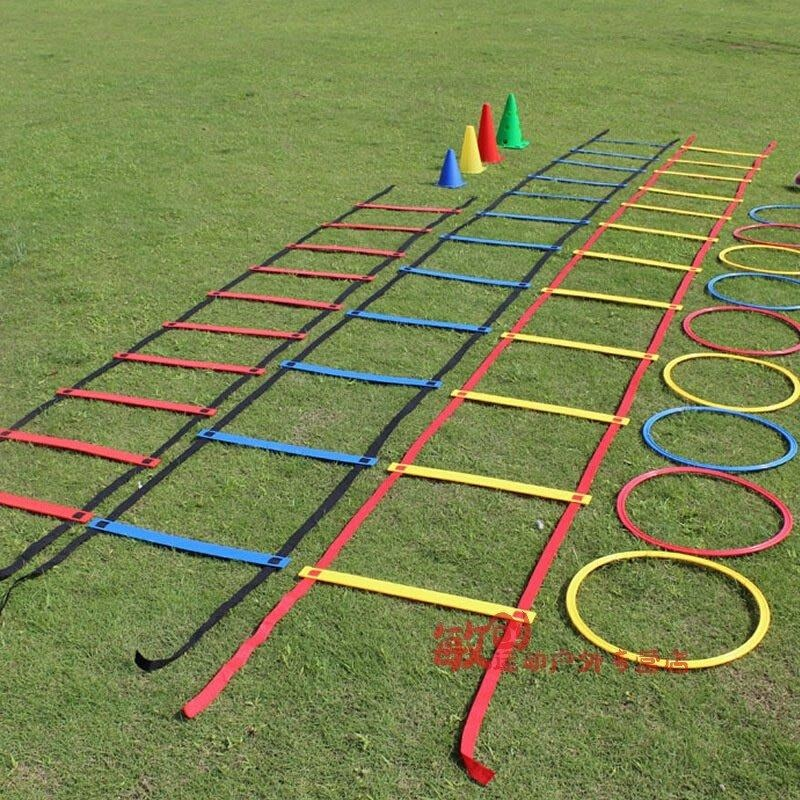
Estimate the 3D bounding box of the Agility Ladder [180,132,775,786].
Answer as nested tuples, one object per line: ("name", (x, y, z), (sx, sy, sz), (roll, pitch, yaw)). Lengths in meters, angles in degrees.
("Agility Ladder", (1.331, -0.552, 6.501), (1.570, 0.309, 6.860), (12, 37, 28))
